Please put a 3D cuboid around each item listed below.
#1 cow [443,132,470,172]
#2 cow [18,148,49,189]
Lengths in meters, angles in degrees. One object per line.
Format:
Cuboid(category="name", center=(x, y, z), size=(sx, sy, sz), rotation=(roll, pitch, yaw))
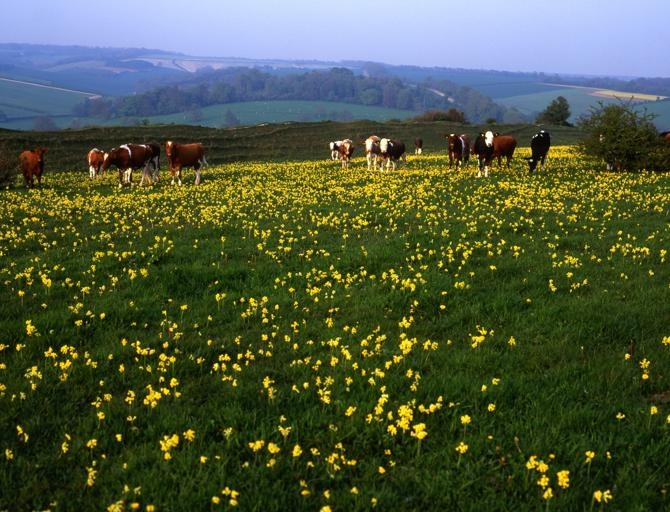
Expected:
Cuboid(category="cow", center=(7.139, -6.102, 34.074), size=(1.076, 1.921, 2.904), rotation=(4, 16, 17))
Cuboid(category="cow", center=(-14.512, -4.144, 28.436), size=(0.660, 1.639, 2.583), rotation=(-1, -3, -38))
